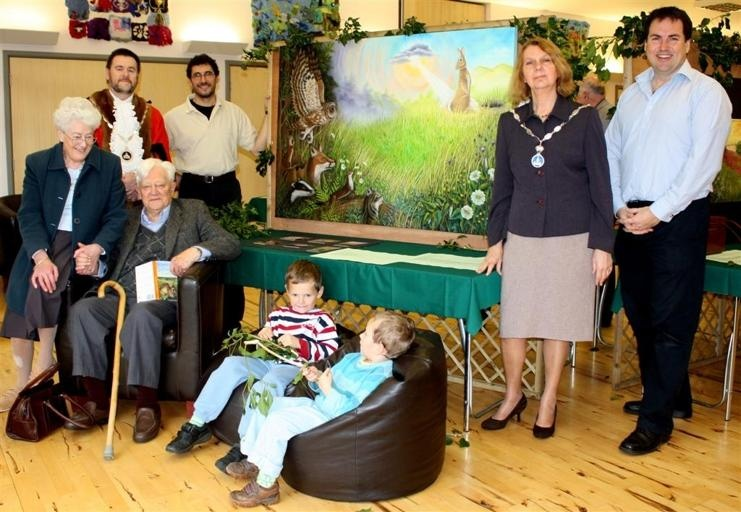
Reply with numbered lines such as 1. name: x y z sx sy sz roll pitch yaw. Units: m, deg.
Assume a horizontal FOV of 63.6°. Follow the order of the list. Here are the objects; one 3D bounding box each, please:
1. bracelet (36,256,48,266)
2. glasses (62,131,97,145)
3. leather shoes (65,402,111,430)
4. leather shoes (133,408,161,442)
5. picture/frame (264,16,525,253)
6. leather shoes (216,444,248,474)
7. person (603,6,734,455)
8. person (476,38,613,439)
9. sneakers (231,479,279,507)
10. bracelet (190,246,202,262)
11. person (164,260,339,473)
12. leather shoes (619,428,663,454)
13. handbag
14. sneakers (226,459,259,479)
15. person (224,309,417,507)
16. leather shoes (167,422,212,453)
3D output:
1. bracelet: -2.080 0.031 3.765 0.090 0.054 0.065 -1 12 -2
2. glasses: -1.874 -0.755 3.841 0.173 0.073 0.090 -5 13 -22
3. leather shoes: -1.748 0.985 3.718 0.135 0.107 0.250 2 -2 26
4. leather shoes: -1.344 1.019 3.599 0.102 0.110 0.256 0 5 -7
5. picture/frame: 0.203 -0.904 4.444 1.861 1.304 0.044 6 9 29
6. leather shoes: -0.741 1.087 3.273 0.091 0.095 0.223 9 15 28
7. person: 1.632 -0.121 3.419 0.604 2.513 0.524 6 14 26
8. person: 1.013 -0.368 3.468 0.727 1.718 0.331 2 13 10
9. sneakers: -0.586 1.208 3.065 0.241 0.118 0.113 3 2 -11
10. bracelet: -1.113 -0.017 3.811 0.043 0.067 0.084 2 -10 -13
11. person: -0.856 0.489 3.831 0.794 1.417 1.184 18 18 39
12. leather shoes: 1.574 1.071 3.500 0.267 0.113 0.116 -4 4 -39
13. handbag: -2.010 0.958 3.649 0.182 0.249 0.350 7 4 13
14. sneakers: -0.670 1.130 3.191 0.162 0.070 0.088 14 9 -45
15. person: -0.241 0.768 3.060 0.904 0.959 0.383 1 12 4
16. leather shoes: -1.018 1.019 3.457 0.113 0.137 0.321 8 11 33
